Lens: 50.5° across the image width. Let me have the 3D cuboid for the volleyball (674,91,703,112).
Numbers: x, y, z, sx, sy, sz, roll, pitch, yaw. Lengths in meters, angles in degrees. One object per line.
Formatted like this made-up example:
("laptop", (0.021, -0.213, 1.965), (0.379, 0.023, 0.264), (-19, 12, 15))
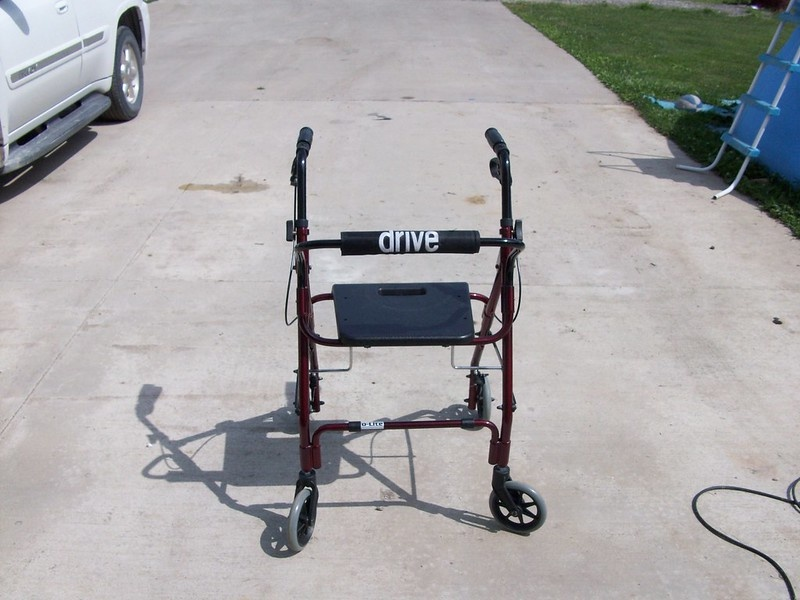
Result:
("volleyball", (3.354, -2.275, 9.780), (0.297, 0.128, 0.321), (11, 40, 13))

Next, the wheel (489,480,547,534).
("wheel", (0.678, 1.170, 4.766), (0.344, 0.294, 0.139), (-2, 8, 25))
